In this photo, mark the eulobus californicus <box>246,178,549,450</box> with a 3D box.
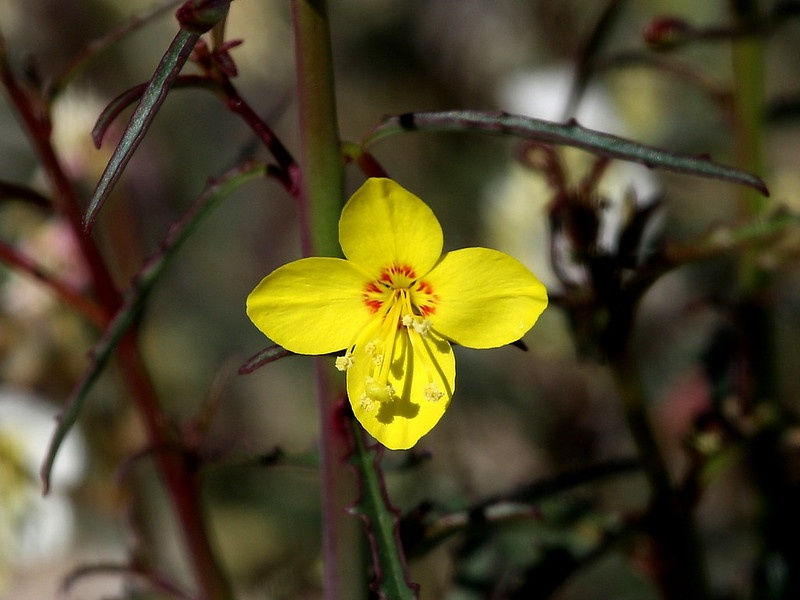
[{"bbox_3d":[0.001,0.011,0.802,0.249,0.155,0.180,-32,-43,19],"label":"eulobus californicus"}]
